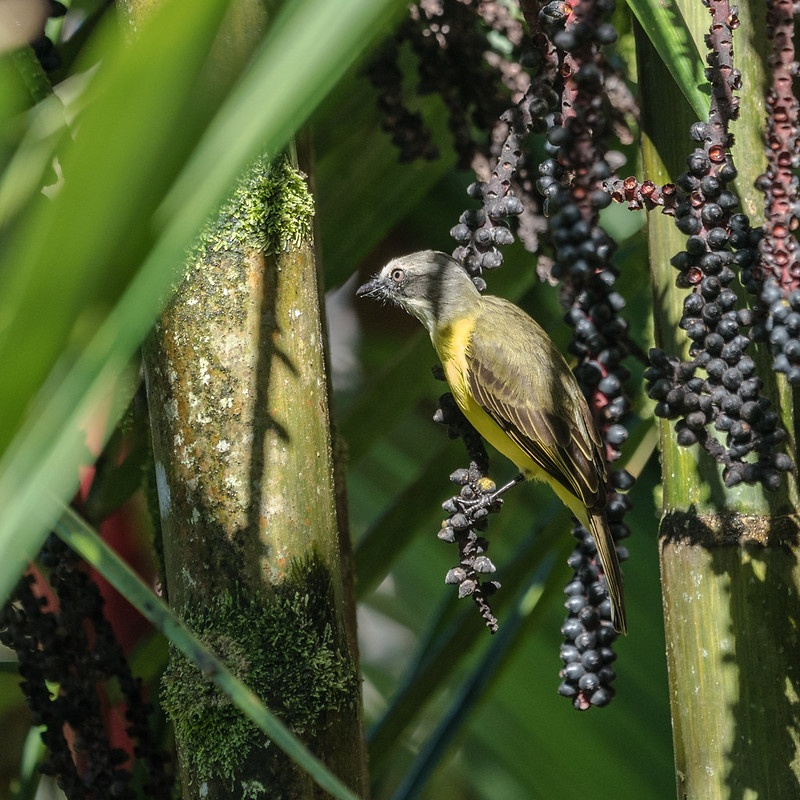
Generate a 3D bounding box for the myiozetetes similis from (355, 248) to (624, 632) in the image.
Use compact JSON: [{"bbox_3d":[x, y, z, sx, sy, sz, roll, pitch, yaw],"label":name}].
[{"bbox_3d":[0.209,-0.005,4.105,1.276,0.326,0.539,46,-31,25],"label":"myiozetetes similis"}]
